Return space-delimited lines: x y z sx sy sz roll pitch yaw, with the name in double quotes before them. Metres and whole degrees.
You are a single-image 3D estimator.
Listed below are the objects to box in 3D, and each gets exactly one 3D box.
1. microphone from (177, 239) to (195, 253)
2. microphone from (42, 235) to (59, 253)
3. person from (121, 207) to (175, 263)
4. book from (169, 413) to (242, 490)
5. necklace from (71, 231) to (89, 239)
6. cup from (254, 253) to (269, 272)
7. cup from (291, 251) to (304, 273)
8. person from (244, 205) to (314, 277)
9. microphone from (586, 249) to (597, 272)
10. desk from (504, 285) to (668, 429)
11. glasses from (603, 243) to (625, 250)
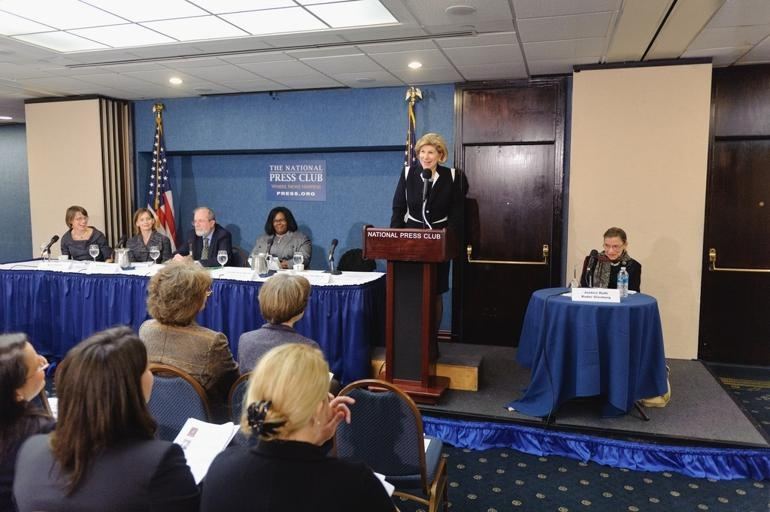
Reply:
"microphone" -2.322 -0.098 6.469 0.174 0.184 0.064 22 -8 -11
"microphone" -4.264 -0.154 7.026 0.076 0.067 0.279 -20 33 34
"person" -2.800 -0.157 6.475 0.498 0.790 0.484 -7 -1 0
"book" -0.901 1.034 2.828 0.296 0.095 0.319 24 58 24
"necklace" -3.647 -0.249 6.623 0.098 0.054 0.132 10 6 -6
"cup" -1.185 0.073 5.351 0.158 0.159 0.120 1 -1 -7
"cup" -0.887 0.043 5.437 0.164 0.246 0.165 -1 -5 0
"person" -1.230 -0.185 6.546 0.764 0.763 0.451 -2 -4 13
"microphone" 1.971 0.036 5.214 0.067 0.269 0.096 8 4 4
"desk" 1.675 0.715 4.888 1.080 0.927 1.312 -1 17 -40
"glasses" 2.178 -0.087 5.173 0.191 0.064 0.183 1 7 8
